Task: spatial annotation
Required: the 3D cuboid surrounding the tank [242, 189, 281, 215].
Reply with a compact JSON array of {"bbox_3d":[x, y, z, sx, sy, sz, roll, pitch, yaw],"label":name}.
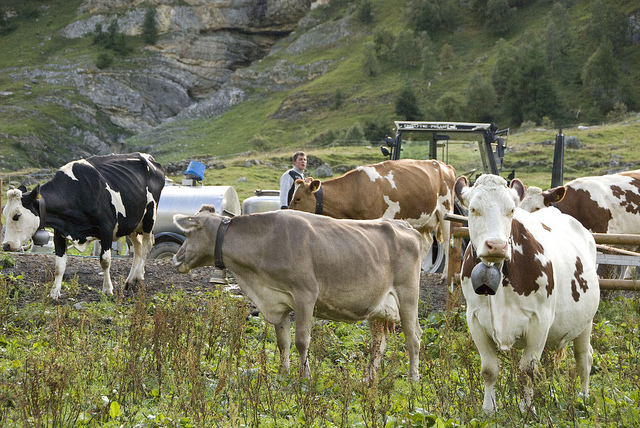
[{"bbox_3d":[-7.103,-0.813,119.548,2.873,3.008,4.145,-3,3,-32],"label":"tank"}]
